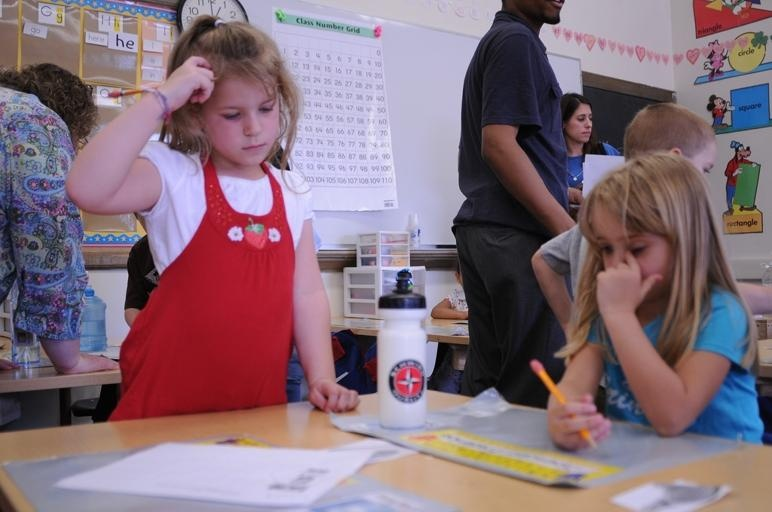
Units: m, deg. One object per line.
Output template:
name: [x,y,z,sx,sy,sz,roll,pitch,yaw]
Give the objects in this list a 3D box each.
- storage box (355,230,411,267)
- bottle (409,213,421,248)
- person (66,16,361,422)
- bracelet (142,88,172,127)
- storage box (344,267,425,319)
storage box: [-0.016,-0.033,3.621,0.337,0.189,0.338,0,-1,-1]
bottle: [0.187,-0.168,3.881,0.067,0.227,0.164,3,11,10]
person: [-0.424,-0.103,1.404,0.523,0.911,0.274,-3,11,-18]
bracelet: [-0.491,-0.315,1.288,0.016,0.063,0.061,-20,-42,27]
storage box: [-0.007,0.205,3.707,0.263,0.318,0.481,-1,3,33]
